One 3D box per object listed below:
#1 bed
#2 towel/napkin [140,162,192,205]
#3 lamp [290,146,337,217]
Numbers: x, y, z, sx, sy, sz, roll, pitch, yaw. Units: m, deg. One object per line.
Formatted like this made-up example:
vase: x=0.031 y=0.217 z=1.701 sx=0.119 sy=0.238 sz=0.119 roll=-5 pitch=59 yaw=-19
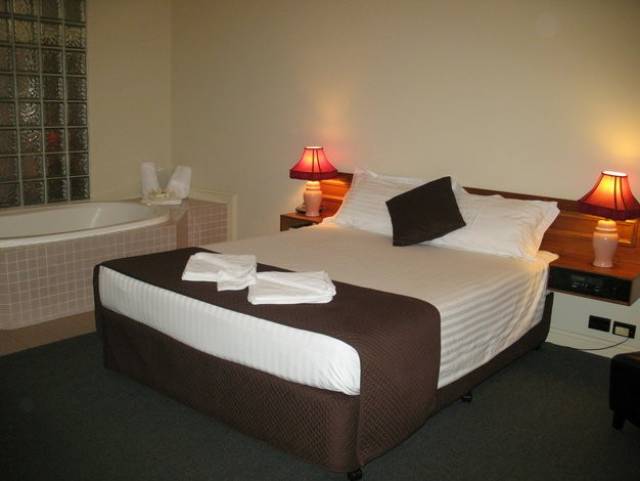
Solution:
bed: x=0.313 y=0.430 z=2.653 sx=1.557 sy=0.531 sz=1.570 roll=8 pitch=15 yaw=40
towel/napkin: x=-1.685 y=-0.606 z=5.172 sx=0.410 sy=0.468 sz=0.612 roll=8 pitch=6 yaw=43
lamp: x=-0.043 y=-0.555 z=4.768 sx=0.659 sy=0.877 sz=0.571 roll=0 pitch=4 yaw=-4
